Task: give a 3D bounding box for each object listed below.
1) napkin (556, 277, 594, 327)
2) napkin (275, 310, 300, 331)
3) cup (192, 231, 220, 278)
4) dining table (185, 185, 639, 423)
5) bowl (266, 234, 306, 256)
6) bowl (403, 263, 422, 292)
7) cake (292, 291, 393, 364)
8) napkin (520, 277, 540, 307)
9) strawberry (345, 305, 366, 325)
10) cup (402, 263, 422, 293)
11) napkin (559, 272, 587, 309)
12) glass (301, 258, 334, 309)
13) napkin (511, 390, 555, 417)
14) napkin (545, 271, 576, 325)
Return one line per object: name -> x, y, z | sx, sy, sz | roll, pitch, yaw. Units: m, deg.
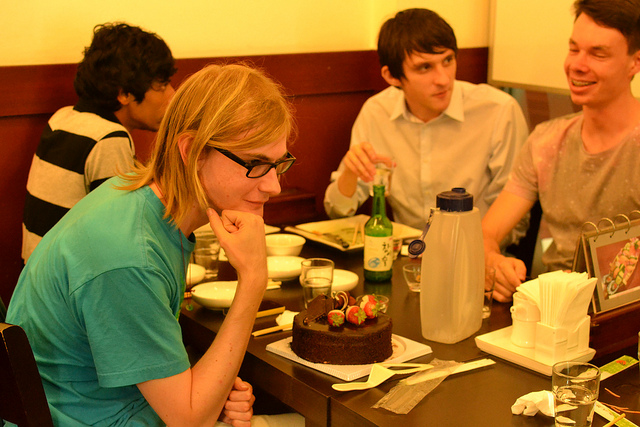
napkin -> 0.763, 0.267, 1.455 | 0.136, 0.129, 0.033 | -8, 9, -29
napkin -> -0.123, 0.382, 1.751 | 0.065, 0.010, 0.088 | -1, 16, 10
cup -> -0.468, 0.184, 2.141 | 0.129, 0.187, 0.126 | 0, -4, 0
dining table -> 0.273, 0.373, 1.582 | 0.957, 0.238, 0.994 | -15, 25, -34
bowl -> -0.166, 0.144, 2.312 | 0.118, 0.044, 0.119 | 1, 9, 0
bowl -> 0.337, 0.252, 1.921 | 0.096, 0.104, 0.100 | 0, 3, 0
cake -> 0.074, 0.353, 1.587 | 0.317, 0.182, 0.314 | 2, 7, 2
napkin -> 0.672, 0.233, 1.555 | 0.052, 0.076, 0.135 | 0, 7, 24
strawberry -> 0.107, 0.313, 1.499 | 0.049, 0.054, 0.055 | -6, 20, -40
cup -> 0.363, 0.249, 1.920 | 0.100, 0.101, 0.105 | -1, 3, 0
napkin -> 0.743, 0.230, 1.453 | 0.028, 0.086, 0.086 | 13, 14, 29
glass -> -0.008, 0.264, 1.834 | 0.118, 0.158, 0.245 | -4, 7, -1
napkin -> 0.551, 0.492, 1.260 | 0.081, 0.030, 0.062 | -2, 1, 13
napkin -> 0.683, 0.250, 1.464 | 0.090, 0.115, 0.141 | -4, 14, 20
